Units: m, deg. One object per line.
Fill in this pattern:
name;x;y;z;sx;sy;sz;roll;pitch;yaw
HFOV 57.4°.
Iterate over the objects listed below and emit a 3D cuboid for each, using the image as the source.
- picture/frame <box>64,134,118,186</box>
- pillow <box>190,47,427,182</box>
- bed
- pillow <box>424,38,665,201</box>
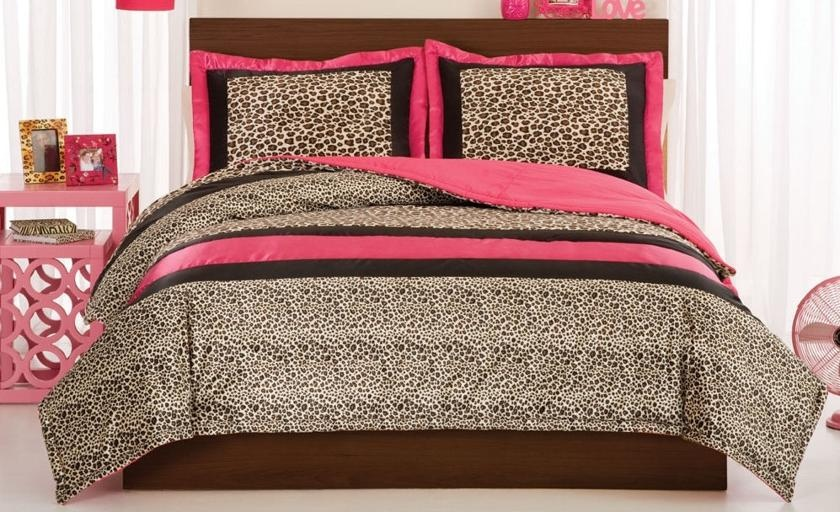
picture/frame;-1.556;-0.461;3.624;0.028;0.221;0.285;8;12;27
pillow;-0.542;-0.697;3.847;1.279;0.590;0.148;-2;-8;0
bed;0.010;0.057;3.170;2.817;1.020;1.505;0;14;0
pillow;0.620;-0.667;3.848;1.522;0.698;0.218;1;-11;1
